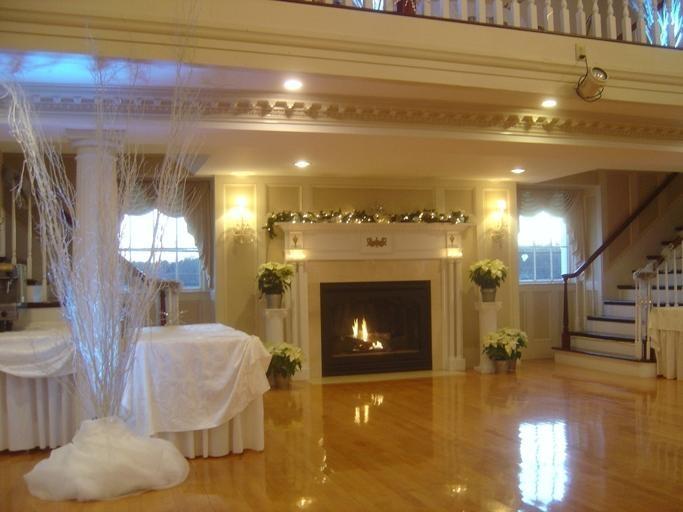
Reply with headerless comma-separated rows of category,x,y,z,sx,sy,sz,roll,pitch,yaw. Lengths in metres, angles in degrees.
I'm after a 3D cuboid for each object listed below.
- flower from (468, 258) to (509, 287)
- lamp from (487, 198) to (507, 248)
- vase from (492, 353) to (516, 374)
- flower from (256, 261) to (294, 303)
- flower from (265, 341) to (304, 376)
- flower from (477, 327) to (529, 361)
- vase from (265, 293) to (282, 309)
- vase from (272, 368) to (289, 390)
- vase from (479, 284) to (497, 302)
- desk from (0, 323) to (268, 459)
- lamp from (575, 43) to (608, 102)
flower,2.159,0.262,8.346,0.429,0.325,0.451,1,-1,2
lamp,2.482,-0.533,8.824,0.344,0.705,0.109,-1,1,-20
vase,2.348,1.522,8.067,0.265,0.178,0.268,-1,0,-33
flower,-0.916,0.319,7.586,0.476,0.509,0.488,6,8,-6
flower,-0.705,1.327,7.058,0.559,0.578,0.585,1,-2,-10
flower,2.320,1.252,8.005,0.448,0.358,0.496,0,-3,-2
vase,-0.916,0.592,7.485,0.188,0.145,0.188,1,-5,-8
vase,-0.776,1.591,7.213,0.191,0.178,0.225,2,-4,-3
vase,2.172,0.536,8.295,0.210,0.175,0.225,1,-1,-3
desk,-1.752,1.070,4.753,1.721,0.862,1.207,2,2,-14
lamp,2.447,-1.839,5.504,0.271,0.539,0.228,0,1,8
